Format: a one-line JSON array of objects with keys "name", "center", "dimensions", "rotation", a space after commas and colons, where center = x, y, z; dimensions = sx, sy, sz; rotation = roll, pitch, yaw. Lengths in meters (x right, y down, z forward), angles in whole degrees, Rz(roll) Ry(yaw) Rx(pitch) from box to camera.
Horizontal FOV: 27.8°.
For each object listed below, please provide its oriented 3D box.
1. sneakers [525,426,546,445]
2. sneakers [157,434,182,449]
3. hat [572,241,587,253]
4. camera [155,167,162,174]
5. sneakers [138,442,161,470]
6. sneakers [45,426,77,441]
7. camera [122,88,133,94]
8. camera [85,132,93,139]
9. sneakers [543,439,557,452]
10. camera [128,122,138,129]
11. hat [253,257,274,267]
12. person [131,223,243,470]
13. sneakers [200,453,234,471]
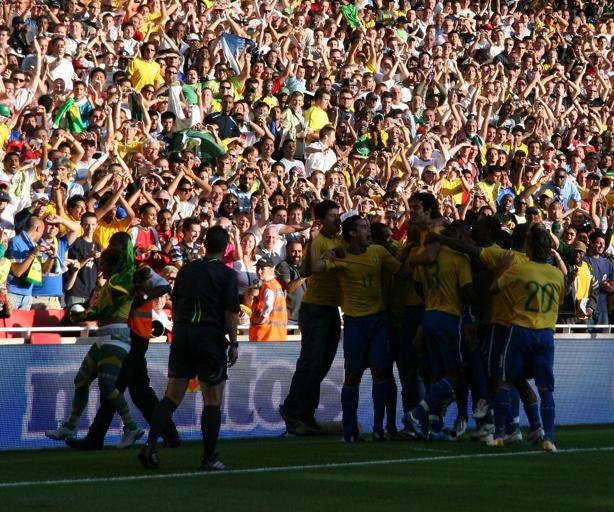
[{"name": "sneakers", "center": [2.356, 1.825, 12.671], "dimensions": [0.158, 0.183, 0.242], "rotation": [0, -2, 5]}, {"name": "sneakers", "center": [-1.443, 1.946, 13.081], "dimensions": [0.193, 0.145, 0.111], "rotation": [7, -7, 2]}, {"name": "hat", "center": [4.099, -0.154, 18.519], "dimensions": [0.208, 0.183, 0.290], "rotation": [0, -2, 10]}, {"name": "camera", "center": [-2.119, -1.220, 17.565], "dimensions": [0.089, 0.113, 0.035], "rotation": [9, -9, -11]}, {"name": "sneakers", "center": [-1.473, 1.840, 11.497], "dimensions": [0.191, 0.241, 0.213], "rotation": [1, -3, -8]}, {"name": "sneakers", "center": [-2.594, 1.862, 13.072], "dimensions": [0.351, 0.190, 0.133], "rotation": [8, 20, -20]}, {"name": "camera", "center": [-2.773, -2.546, 19.083], "dimensions": [0.137, 0.086, 0.182], "rotation": [1, -3, -17]}, {"name": "camera", "center": [-3.192, -1.766, 18.087], "dimensions": [0.108, 0.125, 0.028], "rotation": [1, -24, -13]}, {"name": "sneakers", "center": [2.454, 1.889, 12.415], "dimensions": [0.069, 0.089, 0.199], "rotation": [0, -1, 16]}, {"name": "camera", "center": [-2.627, -1.984, 18.689], "dimensions": [0.078, 0.102, 0.148], "rotation": [0, -3, 17]}, {"name": "hat", "center": [-0.536, 0.060, 15.832], "dimensions": [0.197, 0.128, 0.350], "rotation": [0, -2, 6]}, {"name": "person", "center": [-1.058, 0.827, 11.544], "dimensions": [0.822, 2.250, 0.366], "rotation": [1, -3, -6]}, {"name": "sneakers", "center": [-0.853, 1.887, 11.392], "dimensions": [0.256, 0.120, 0.117], "rotation": [0, -1, -9]}]
